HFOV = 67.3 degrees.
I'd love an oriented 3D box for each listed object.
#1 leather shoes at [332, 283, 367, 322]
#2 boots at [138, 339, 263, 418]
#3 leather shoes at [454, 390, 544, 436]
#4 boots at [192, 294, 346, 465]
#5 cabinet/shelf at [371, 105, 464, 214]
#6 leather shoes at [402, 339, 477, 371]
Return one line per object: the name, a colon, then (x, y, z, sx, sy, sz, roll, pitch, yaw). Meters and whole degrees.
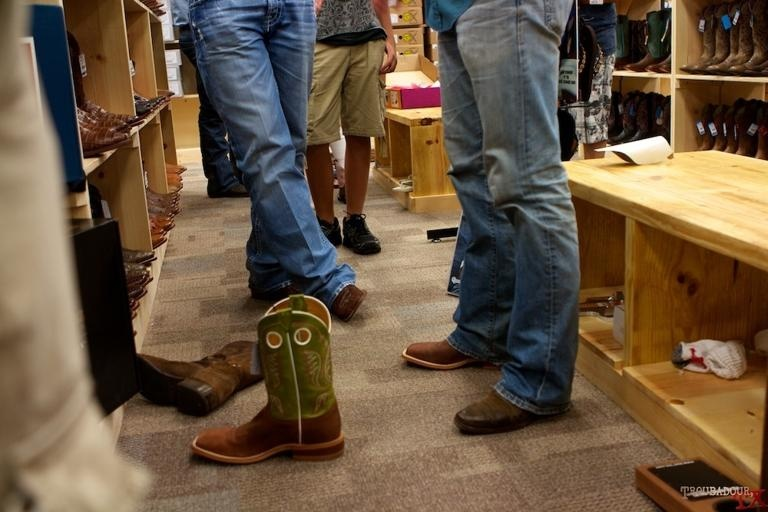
leather shoes: (-0.126, 0.167, 2.053, 0.089, 0.072, 0.190, 25, -23, -16)
boots: (-0.509, 0.354, 1.624, 0.289, 0.099, 0.208, 11, 22, 25)
leather shoes: (0.285, 0.370, 1.413, 0.177, 0.067, 0.088, -3, 13, -21)
boots: (-0.270, 0.291, 1.338, 0.367, 0.382, 0.158, 0, 11, 1)
cabinet/shelf: (0.232, -0.731, 4.050, 0.437, 0.572, 1.146, -8, 19, -10)
leather shoes: (0.160, 0.297, 1.772, 0.243, 0.098, 0.088, 5, 10, 5)
